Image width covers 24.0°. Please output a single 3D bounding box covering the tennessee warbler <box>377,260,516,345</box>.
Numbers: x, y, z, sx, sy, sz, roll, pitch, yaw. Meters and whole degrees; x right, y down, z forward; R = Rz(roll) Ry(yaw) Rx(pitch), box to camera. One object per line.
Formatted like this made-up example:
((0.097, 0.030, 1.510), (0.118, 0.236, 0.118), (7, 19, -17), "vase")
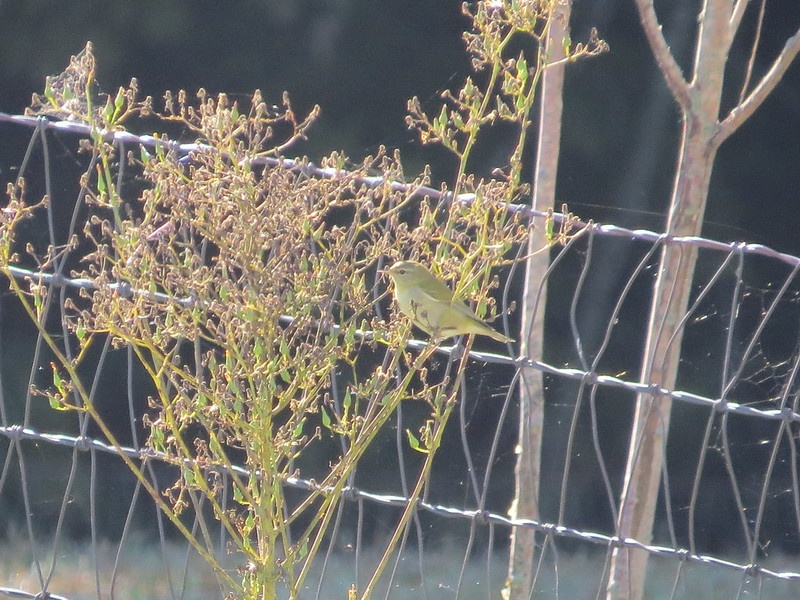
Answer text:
((0.219, 0.058, 9.346), (0.659, 0.422, 0.249), (15, -23, 11), "tennessee warbler")
